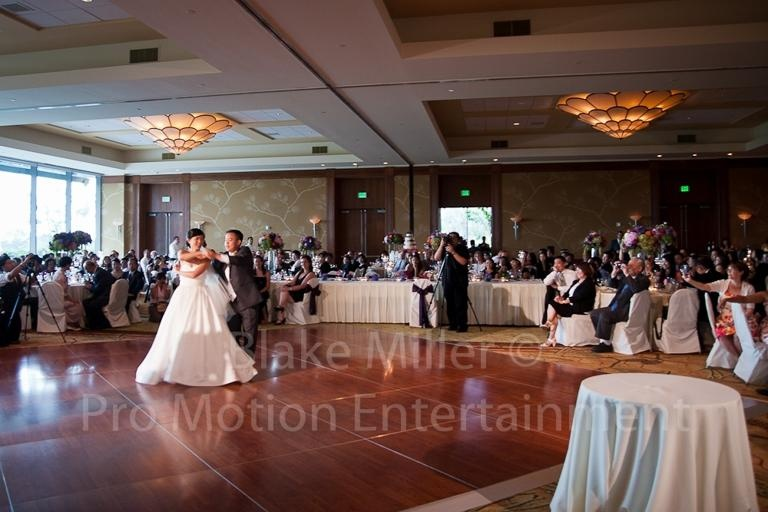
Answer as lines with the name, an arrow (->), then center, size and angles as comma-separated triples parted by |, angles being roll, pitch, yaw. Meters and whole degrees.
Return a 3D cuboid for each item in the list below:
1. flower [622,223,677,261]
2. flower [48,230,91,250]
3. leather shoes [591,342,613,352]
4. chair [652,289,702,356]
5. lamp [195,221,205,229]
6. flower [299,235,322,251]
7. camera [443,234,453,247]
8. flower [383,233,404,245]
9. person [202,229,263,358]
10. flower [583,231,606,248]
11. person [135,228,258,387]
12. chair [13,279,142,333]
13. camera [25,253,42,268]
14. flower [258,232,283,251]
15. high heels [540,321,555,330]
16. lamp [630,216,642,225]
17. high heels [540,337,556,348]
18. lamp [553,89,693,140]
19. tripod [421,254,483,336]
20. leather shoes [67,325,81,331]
flower -> 4.364, -0.266, 8.244 | 0.651, 0.432, 0.651 | -9, 5, -30
flower -> -6.500, -0.292, 10.404 | 0.511, 0.371, 0.546 | -5, -3, 3
leather shoes -> 3.320, 1.409, 7.616 | 0.312, 0.136, 0.136 | 1, -6, 2
chair -> 4.407, 0.969, 7.451 | 0.612, 0.983, 0.398 | 1, 2, 21
lamp -> -6.612, -1.096, 17.674 | 0.426, 0.268, 0.268 | 0, 1, 23
flower -> -1.705, -0.297, 11.492 | 0.368, 0.318, 0.379 | 2, -8, 6
camera -> 1.183, -0.284, 9.097 | 0.139, 0.190, 0.184 | 0, 6, 15
flower -> 0.248, -0.379, 11.457 | 0.316, 0.194, 0.320 | 1, -5, 7
person -> -1.902, 0.471, 6.340 | 0.721, 1.529, 0.503 | -11, 13, -43
flower -> 4.199, -0.308, 10.003 | 0.448, 0.414, 0.411 | 1, 2, -43
person -> -2.266, 0.615, 6.039 | 1.301, 1.877, 0.403 | 0, 2, -2
chair -> -5.756, 0.913, 9.492 | 1.316, 0.736, 1.044 | -3, 3, -35
camera -> -6.826, 0.101, 9.673 | 0.218, 0.289, 0.295 | 9, -47, -24
flower -> -2.505, -0.324, 11.117 | 0.404, 0.270, 0.435 | 1, -2, 3
high heels -> 2.708, 1.113, 8.174 | 0.116, 0.203, 0.271 | 0, 1, -15
lamp -> 7.732, -1.101, 15.380 | 0.292, 0.350, 0.294 | -10, -14, 43
high heels -> 2.676, 1.414, 7.987 | 0.316, 0.178, 0.107 | 1, -5, 7
lamp -> 5.259, -3.228, 11.138 | 2.446, 0.624, 1.408 | 0, 1, 3
tripod -> 1.477, 0.734, 9.981 | 1.293, 1.976, 1.283 | -2, -1, -13
leather shoes -> -5.867, 1.380, 9.401 | 0.230, 0.099, 0.084 | 5, 6, -30
